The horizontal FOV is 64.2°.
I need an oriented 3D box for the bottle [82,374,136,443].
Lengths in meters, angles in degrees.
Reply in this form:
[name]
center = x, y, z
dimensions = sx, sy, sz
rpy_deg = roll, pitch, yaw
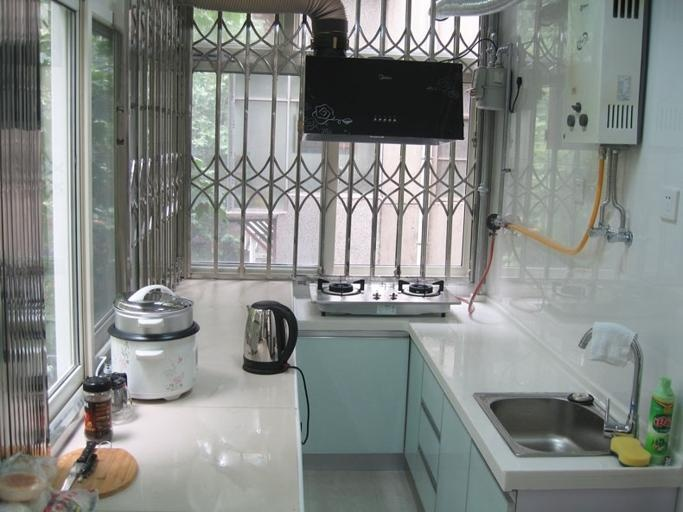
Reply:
[bottle]
center = -0.810, 0.509, 1.905
dimensions = 0.134, 0.233, 0.110
rpy_deg = 15, 15, 29

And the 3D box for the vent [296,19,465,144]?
[vent]
center = 0.212, -0.803, 3.186
dimensions = 0.866, 0.459, 0.492
rpy_deg = 1, -11, -3

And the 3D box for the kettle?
[kettle]
center = -0.319, 0.356, 2.422
dimensions = 0.223, 0.308, 0.143
rpy_deg = 1, 12, -12

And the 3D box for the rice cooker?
[rice cooker]
center = -0.739, 0.320, 2.187
dimensions = 0.311, 0.431, 0.373
rpy_deg = 2, 11, -7

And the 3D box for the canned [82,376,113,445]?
[canned]
center = -0.828, 0.528, 1.866
dimensions = 0.089, 0.222, 0.094
rpy_deg = 0, 8, -13

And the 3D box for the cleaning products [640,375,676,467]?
[cleaning products]
center = 1.123, 0.572, 1.913
dimensions = 0.096, 0.312, 0.069
rpy_deg = -1, 13, -20

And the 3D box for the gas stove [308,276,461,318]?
[gas stove]
center = 0.276, 0.257, 3.463
dimensions = 0.854, 0.224, 0.588
rpy_deg = -1, 1, 2
